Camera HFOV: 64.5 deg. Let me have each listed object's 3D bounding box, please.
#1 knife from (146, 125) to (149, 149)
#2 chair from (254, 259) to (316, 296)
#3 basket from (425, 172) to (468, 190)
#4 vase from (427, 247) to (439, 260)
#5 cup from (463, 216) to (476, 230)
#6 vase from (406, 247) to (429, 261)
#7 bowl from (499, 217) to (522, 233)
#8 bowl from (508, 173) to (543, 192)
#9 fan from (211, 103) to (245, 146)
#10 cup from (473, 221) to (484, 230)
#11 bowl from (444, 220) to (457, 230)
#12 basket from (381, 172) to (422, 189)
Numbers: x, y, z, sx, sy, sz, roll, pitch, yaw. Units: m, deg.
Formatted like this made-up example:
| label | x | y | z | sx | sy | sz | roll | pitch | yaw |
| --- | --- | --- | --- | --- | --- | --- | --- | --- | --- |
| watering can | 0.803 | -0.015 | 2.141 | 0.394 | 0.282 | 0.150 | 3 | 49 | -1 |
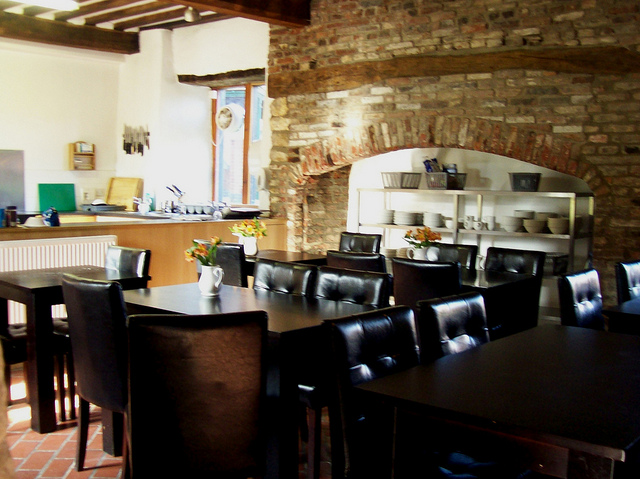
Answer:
| label | x | y | z | sx | sy | sz | roll | pitch | yaw |
| --- | --- | --- | --- | --- | --- | --- | --- | --- | --- |
| knife | -2.877 | -1.693 | 8.425 | 0.040 | 0.342 | 0.081 | -3 | 12 | -17 |
| chair | -0.236 | 0.244 | 3.399 | 0.533 | 0.232 | 0.280 | 6 | 10 | 37 |
| basket | 1.405 | -0.655 | 5.631 | 0.413 | 0.105 | 0.235 | 1 | 1 | -10 |
| vase | 0.959 | 0.115 | 4.292 | 0.136 | 0.086 | 0.104 | -3 | 3 | -9 |
| cup | 1.613 | -0.180 | 5.440 | 0.093 | 0.139 | 0.113 | 0 | 10 | -4 |
| vase | 0.830 | 0.121 | 4.401 | 0.177 | 0.086 | 0.111 | 1 | 4 | 40 |
| bowl | 1.936 | -0.155 | 5.139 | 0.223 | 0.106 | 0.179 | 4 | 4 | 19 |
| bowl | 2.079 | -0.576 | 5.118 | 0.303 | 0.111 | 0.253 | 3 | 4 | 19 |
| fan | -1.411 | -1.916 | 7.949 | 0.417 | 0.420 | 0.315 | -1 | 10 | -9 |
| cup | 1.681 | -0.153 | 5.390 | 0.127 | 0.065 | 0.091 | -1 | 4 | 6 |
| bowl | 1.487 | -0.170 | 5.840 | 0.156 | 0.079 | 0.130 | -1 | -2 | -3 |
| basket | 0.919 | -0.703 | 6.034 | 0.374 | 0.193 | 0.629 | -5 | 9 | -33 |
